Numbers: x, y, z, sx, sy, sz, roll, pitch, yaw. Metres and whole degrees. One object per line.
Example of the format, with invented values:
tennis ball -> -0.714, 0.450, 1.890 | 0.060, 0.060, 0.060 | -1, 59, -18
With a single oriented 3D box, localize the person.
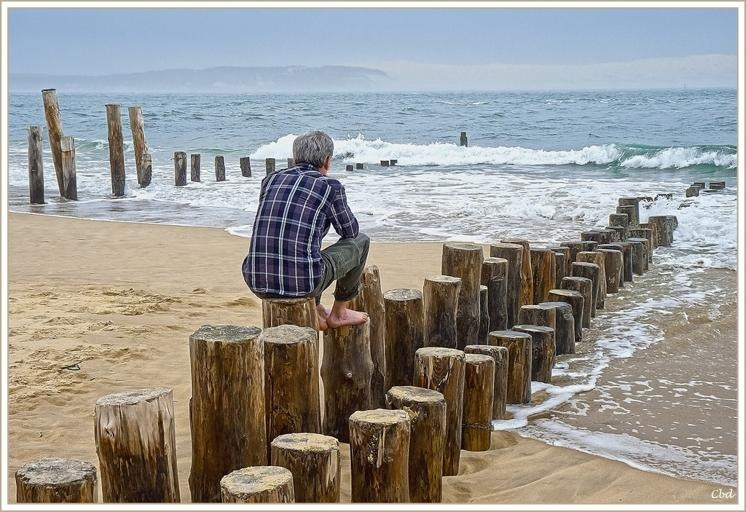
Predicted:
person -> -0.702, -0.257, 9.907 | 1.286, 2.024, 0.678 | -2, 9, -12
